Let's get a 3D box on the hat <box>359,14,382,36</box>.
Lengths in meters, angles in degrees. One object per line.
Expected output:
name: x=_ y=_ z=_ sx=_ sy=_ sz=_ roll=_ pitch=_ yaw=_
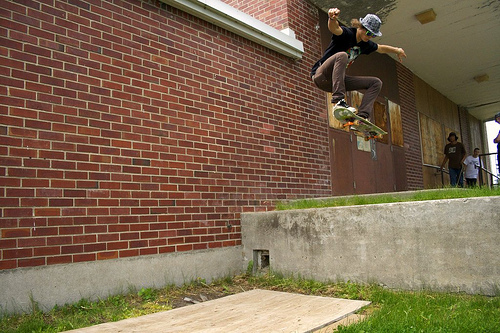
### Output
hat: x=2.162 y=-2.440 z=6.733 sx=0.170 sy=0.416 sz=0.456 roll=-46 pitch=-23 yaw=10
